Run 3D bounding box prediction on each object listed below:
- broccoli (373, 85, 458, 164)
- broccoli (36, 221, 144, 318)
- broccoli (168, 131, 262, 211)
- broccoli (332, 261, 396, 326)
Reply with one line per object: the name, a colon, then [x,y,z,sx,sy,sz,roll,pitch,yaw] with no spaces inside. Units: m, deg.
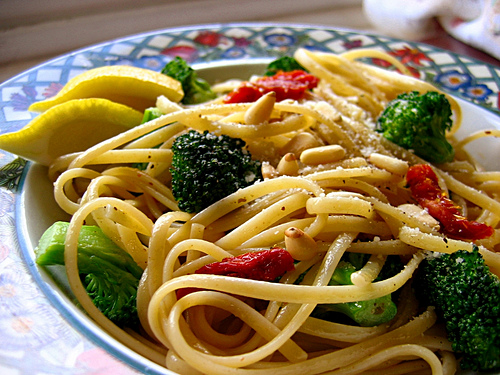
broccoli: [0.654,-0.240,1.894,0.267,0.276,0.263,43,100,29]
broccoli: [-0.485,0.269,1.584,0.406,0.127,0.224,19,71,-14]
broccoli: [-0.130,-0.051,1.584,0.277,0.110,0.283,-32,73,-17]
broccoli: [0.332,0.342,1.586,0.248,0.095,0.154,39,90,6]
